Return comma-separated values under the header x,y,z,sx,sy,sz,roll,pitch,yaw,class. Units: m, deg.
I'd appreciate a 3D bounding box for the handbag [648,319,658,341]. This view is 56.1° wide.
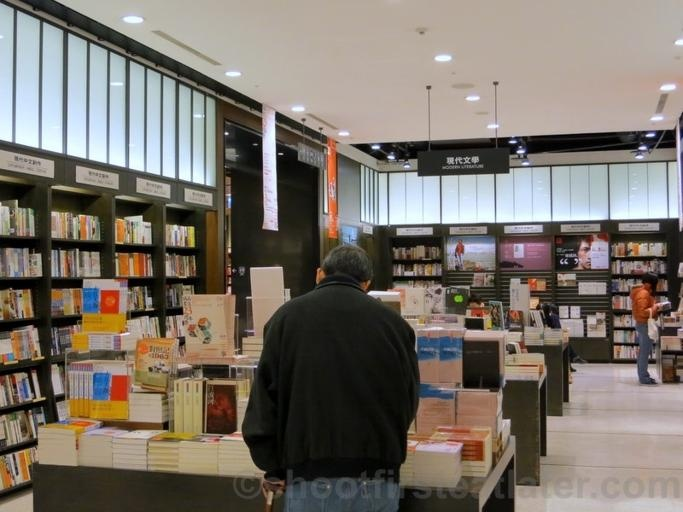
x,y,z,sx,sy,sz,roll,pitch,yaw,class
5.310,1.274,10.958,0.123,0.379,0.364,-2,-8,19,handbag

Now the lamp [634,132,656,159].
x,y,z,sx,sy,sz,roll,pitch,yaw,class
6.442,-2.377,13.642,0.213,0.309,0.757,1,-19,12,lamp
